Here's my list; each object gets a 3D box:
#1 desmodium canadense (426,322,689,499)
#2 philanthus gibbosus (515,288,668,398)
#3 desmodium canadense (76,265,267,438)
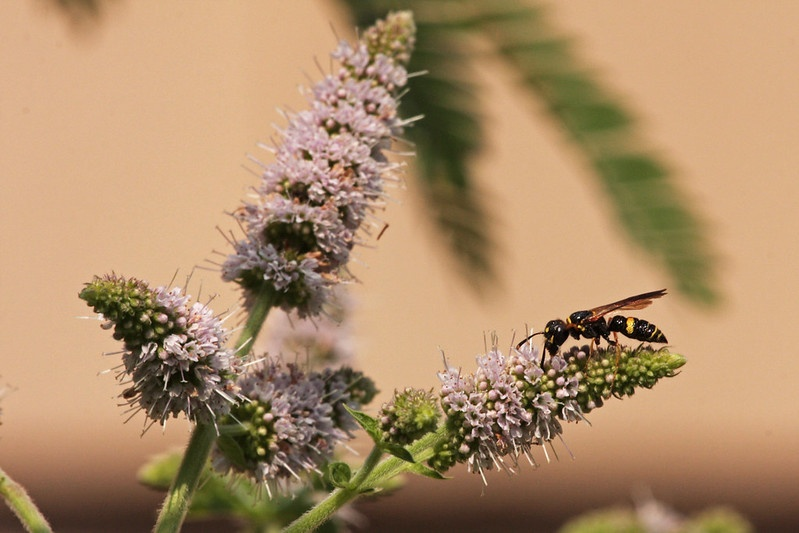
[{"bbox_3d":[0.847,0.777,6.575,1.351,0.641,0.661,0,-53,0],"label":"desmodium canadense"},{"bbox_3d":[1.237,0.409,6.903,0.987,0.700,0.326,-13,-76,3],"label":"philanthus gibbosus"},{"bbox_3d":[-1.330,0.474,6.479,0.722,0.537,1.042,-12,-54,9],"label":"desmodium canadense"}]
